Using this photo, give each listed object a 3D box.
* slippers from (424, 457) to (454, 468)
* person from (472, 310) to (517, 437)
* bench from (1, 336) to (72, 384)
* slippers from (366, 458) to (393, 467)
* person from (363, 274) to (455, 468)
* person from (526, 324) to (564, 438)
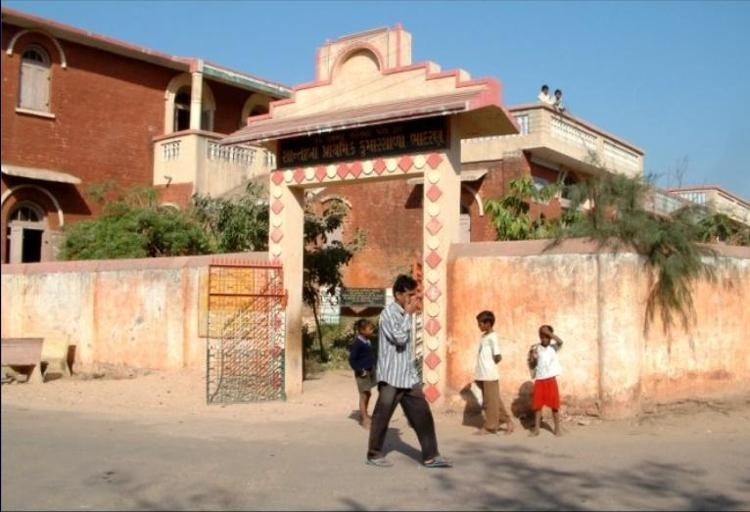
[{"bbox_3d":[1.111,3.462,14.171,0.425,0.196,0.198,-1,-3,1],"label":"slippers"},{"bbox_3d":[2.301,2.222,16.137,0.692,2.309,0.901,-2,-7,7],"label":"person"},{"bbox_3d":[-8.860,2.675,21.704,1.304,0.811,1.313,1,-10,-21],"label":"bench"},{"bbox_3d":[0.081,3.516,14.337,0.303,0.130,0.174,0,-1,7],"label":"slippers"},{"bbox_3d":[0.476,1.968,14.445,1.229,3.291,0.489,0,-7,-4],"label":"person"},{"bbox_3d":[3.263,2.352,15.873,0.636,2.064,0.357,-2,-7,9],"label":"person"}]
